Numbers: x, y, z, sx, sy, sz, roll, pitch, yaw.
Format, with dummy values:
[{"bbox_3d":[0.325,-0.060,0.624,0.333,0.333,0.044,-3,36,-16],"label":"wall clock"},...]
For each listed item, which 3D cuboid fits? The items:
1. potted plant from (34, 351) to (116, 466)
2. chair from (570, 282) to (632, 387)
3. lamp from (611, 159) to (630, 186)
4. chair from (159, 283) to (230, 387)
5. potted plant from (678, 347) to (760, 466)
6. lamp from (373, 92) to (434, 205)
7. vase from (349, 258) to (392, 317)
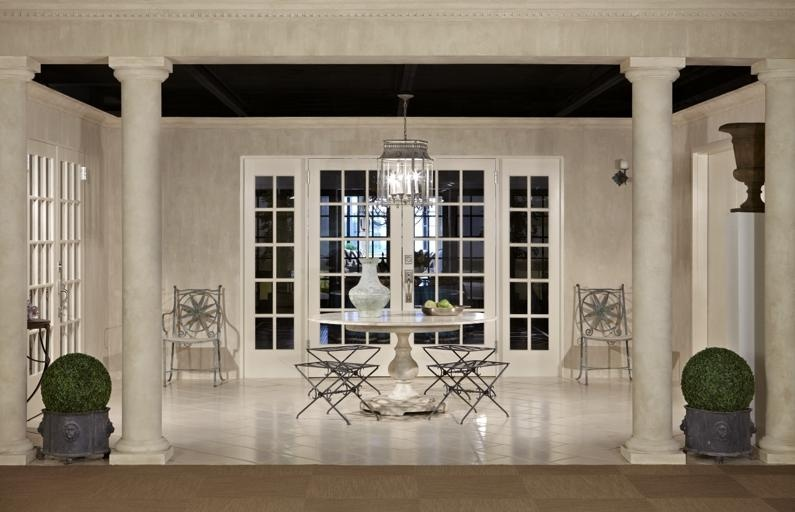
[{"bbox_3d":[-3.037,1.329,8.192,0.715,1.020,0.726,-11,3,-5],"label":"potted plant"},{"bbox_3d":[2.679,0.987,11.119,0.755,1.199,0.643,1,7,9],"label":"chair"},{"bbox_3d":[2.964,-1.099,11.299,0.227,0.346,0.110,1,7,8],"label":"lamp"},{"bbox_3d":[-2.631,1.006,11.046,0.811,1.220,0.596,-1,7,-10],"label":"chair"},{"bbox_3d":[3.092,1.397,8.185,0.716,1.017,0.674,-2,-7,24],"label":"potted plant"},{"bbox_3d":[0.077,-1.159,9.814,0.771,1.319,0.725,17,26,38],"label":"lamp"},{"bbox_3d":[-0.315,0.340,9.645,0.500,0.643,0.513,-3,3,-41],"label":"vase"}]
